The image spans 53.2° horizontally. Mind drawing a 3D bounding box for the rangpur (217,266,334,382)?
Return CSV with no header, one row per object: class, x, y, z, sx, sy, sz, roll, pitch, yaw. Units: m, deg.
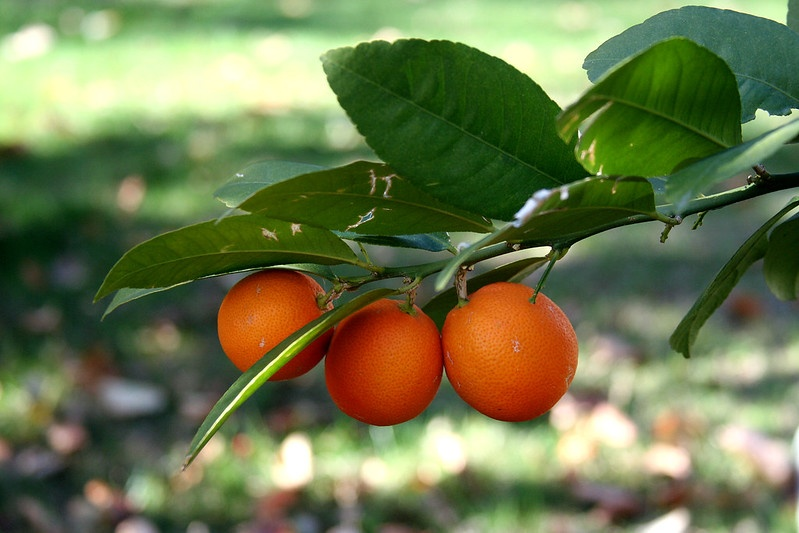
rangpur,-0.309,0.142,1.986,0.262,0.195,0.247,-27,53,-23
